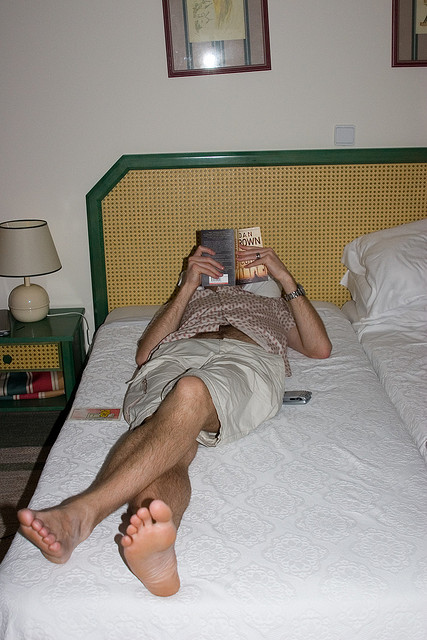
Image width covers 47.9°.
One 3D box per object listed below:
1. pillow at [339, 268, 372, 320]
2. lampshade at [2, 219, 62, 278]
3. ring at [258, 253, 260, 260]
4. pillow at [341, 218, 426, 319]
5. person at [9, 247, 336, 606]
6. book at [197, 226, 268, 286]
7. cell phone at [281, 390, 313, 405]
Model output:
[{"bbox_3d":[0.692,-0.144,2.320,0.071,0.160,0.208,-4,17,-3],"label":"pillow"},{"bbox_3d":[-0.800,-0.346,2.323,0.298,0.275,0.292,-4,21,-5],"label":"lampshade"},{"bbox_3d":[0.172,-0.249,1.834,0.008,0.008,0.031,3,49,4],"label":"ring"},{"bbox_3d":[0.826,-0.254,2.220,0.384,0.360,0.471,-3,18,5],"label":"pillow"},{"bbox_3d":[-0.003,0.132,1.259,0.445,0.318,1.104,7,32,17],"label":"person"},{"bbox_3d":[0.071,-0.244,1.858,0.272,0.244,0.062,-5,2,-3],"label":"book"},{"bbox_3d":[0.254,0.237,1.475,0.072,0.017,0.042,1,14,6],"label":"cell phone"}]
